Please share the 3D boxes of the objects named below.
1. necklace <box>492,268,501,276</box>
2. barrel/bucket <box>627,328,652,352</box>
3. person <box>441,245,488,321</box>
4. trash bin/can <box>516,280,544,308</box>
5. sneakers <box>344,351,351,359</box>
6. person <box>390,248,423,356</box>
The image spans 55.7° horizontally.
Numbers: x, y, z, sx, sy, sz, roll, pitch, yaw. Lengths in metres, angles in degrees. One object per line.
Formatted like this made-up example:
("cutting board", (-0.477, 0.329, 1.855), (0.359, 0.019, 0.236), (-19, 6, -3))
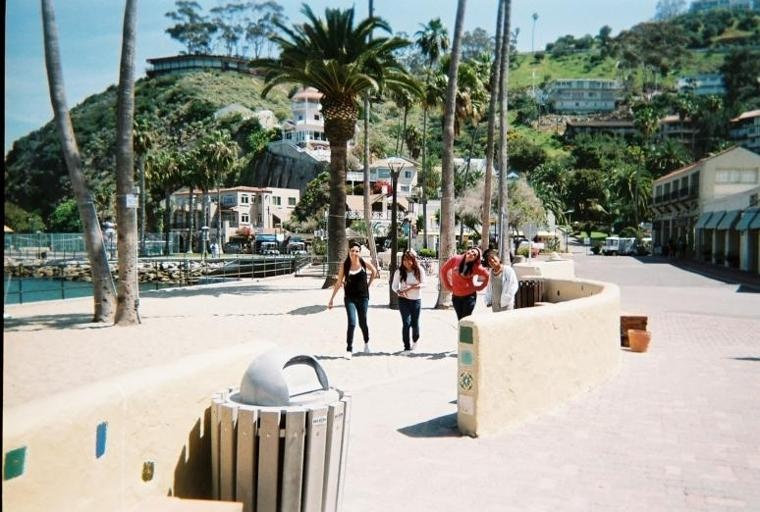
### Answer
("necklace", (2.008, 0.279, 12.297), (0.097, 0.152, 0.143), (-13, 18, 8))
("barrel/bucket", (5.089, 1.669, 14.018), (0.367, 0.405, 0.401), (0, -5, 0))
("person", (1.449, 0.474, 12.084), (0.761, 1.224, 0.721), (0, 4, 7))
("trash bin/can", (3.440, 0.879, 16.399), (0.601, 0.879, 0.679), (0, -2, -4))
("sneakers", (-0.528, 1.688, 12.056), (0.102, 0.118, 0.109), (-1, -4, 37))
("person", (0.537, 0.795, 13.054), (0.525, 1.853, 1.372), (0, 4, 1))
